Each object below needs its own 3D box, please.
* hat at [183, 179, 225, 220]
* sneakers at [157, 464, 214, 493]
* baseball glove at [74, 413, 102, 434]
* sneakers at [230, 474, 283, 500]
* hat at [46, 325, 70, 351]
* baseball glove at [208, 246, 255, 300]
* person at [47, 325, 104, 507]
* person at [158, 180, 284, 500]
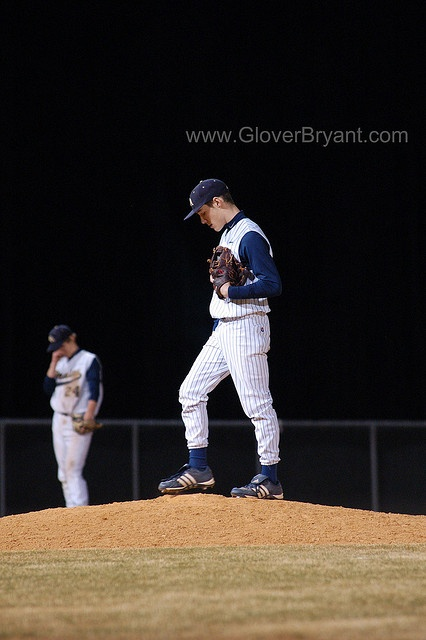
[{"bbox_3d":[-0.039,-0.800,7.621,0.291,0.180,0.192,-38,17,-6],"label":"hat"},{"bbox_3d":[-0.148,1.020,7.601,0.393,0.263,0.158,-1,-4,-12],"label":"sneakers"},{"bbox_3d":[-1.021,0.830,9.392,0.177,0.161,0.115,1,3,33],"label":"baseball glove"},{"bbox_3d":[0.280,1.063,7.539,0.345,0.203,0.144,5,-7,-11],"label":"sneakers"},{"bbox_3d":[-1.223,0.152,9.400,0.202,0.209,0.182,-1,2,5],"label":"hat"},{"bbox_3d":[0.117,-0.266,7.424,0.227,0.338,0.153,-30,-4,12],"label":"baseball glove"},{"bbox_3d":[-1.123,0.780,9.495,0.453,1.475,0.457,-1,2,-1],"label":"person"},{"bbox_3d":[0.086,0.127,7.486,0.698,2.049,0.595,-1,2,-2],"label":"person"}]
